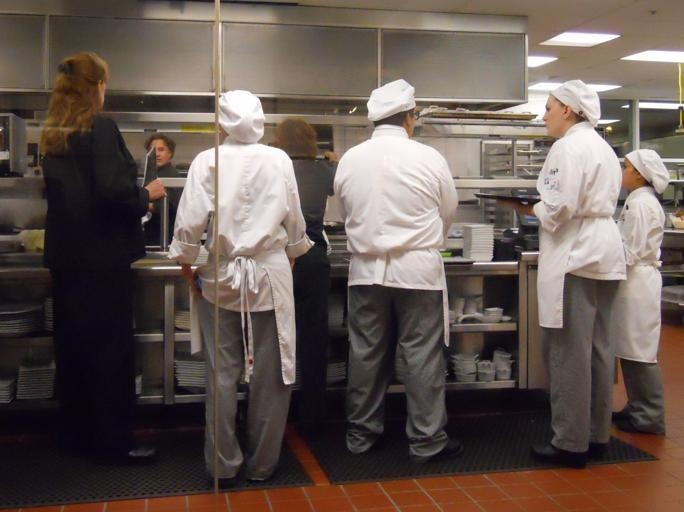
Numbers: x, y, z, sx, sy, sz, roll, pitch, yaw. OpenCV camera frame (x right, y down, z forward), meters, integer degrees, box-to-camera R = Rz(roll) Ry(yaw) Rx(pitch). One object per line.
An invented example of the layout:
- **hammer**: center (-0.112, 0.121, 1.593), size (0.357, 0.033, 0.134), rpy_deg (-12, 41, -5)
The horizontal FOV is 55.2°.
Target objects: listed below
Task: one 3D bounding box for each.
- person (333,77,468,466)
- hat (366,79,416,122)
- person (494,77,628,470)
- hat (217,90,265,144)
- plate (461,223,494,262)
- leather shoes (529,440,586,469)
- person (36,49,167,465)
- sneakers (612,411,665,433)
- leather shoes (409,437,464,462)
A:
- **person**: center (0.302, 0.066, 3.497), size (0.713, 1.988, 0.463), rpy_deg (2, 9, 8)
- **hat**: center (0.274, -0.845, 3.548), size (0.219, 0.243, 0.115), rpy_deg (-9, -34, 21)
- **person**: center (1.213, 0.084, 3.421), size (0.502, 1.964, 0.434), rpy_deg (5, 10, 24)
- **hat**: center (-0.493, -0.664, 3.211), size (0.199, 0.195, 0.258), rpy_deg (0, 48, -4)
- **plate**: center (0.843, -0.080, 4.031), size (0.220, 0.299, 0.207), rpy_deg (0, -1, -9)
- **leather shoes**: center (1.139, 1.031, 3.453), size (0.253, 0.113, 0.105), rpy_deg (6, 2, 24)
- **person**: center (-1.124, 0.057, 3.026), size (0.462, 1.914, 0.176), rpy_deg (-3, 10, -24)
- **sneakers**: center (1.739, 0.978, 3.854), size (0.279, 0.198, 0.096), rpy_deg (-5, 1, 19)
- **leather shoes**: center (0.514, 1.038, 3.514), size (0.274, 0.118, 0.108), rpy_deg (-5, 5, -27)
